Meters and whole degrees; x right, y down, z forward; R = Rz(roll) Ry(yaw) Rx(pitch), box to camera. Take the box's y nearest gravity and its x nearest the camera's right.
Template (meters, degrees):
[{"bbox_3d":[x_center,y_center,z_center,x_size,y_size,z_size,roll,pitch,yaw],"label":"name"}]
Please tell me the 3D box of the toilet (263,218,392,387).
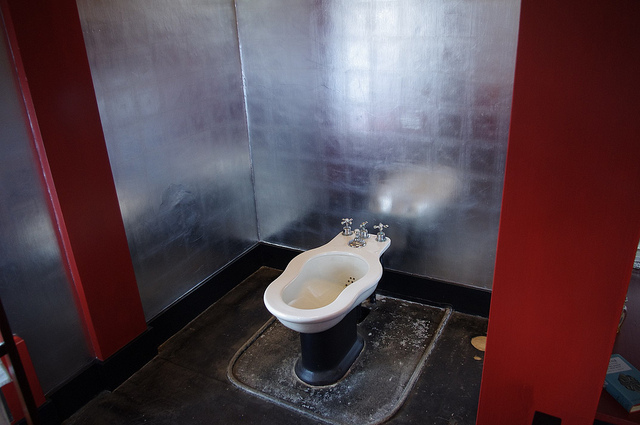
[{"bbox_3d":[0.002,0.546,2.833,0.574,0.760,0.919,13,36,28],"label":"toilet"}]
